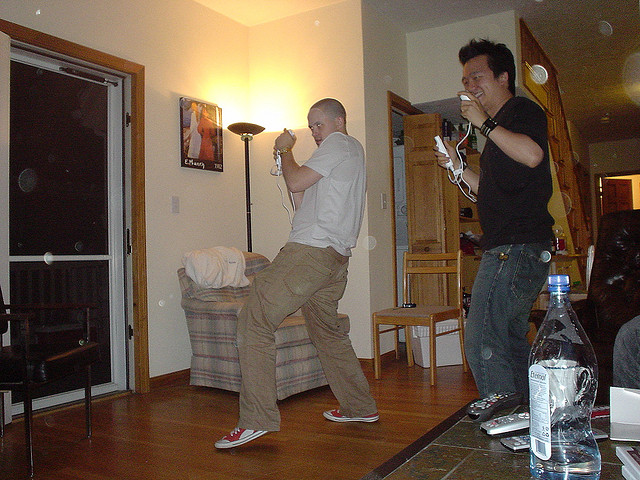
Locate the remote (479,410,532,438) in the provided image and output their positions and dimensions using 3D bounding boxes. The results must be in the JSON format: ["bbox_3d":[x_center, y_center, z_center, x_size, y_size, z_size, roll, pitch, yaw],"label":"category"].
[{"bbox_3d":[0.450,0.431,1.186,0.155,0.035,0.068,-1,-3,-31],"label":"remote"}]

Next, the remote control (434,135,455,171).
[{"bbox_3d":[0.587,-0.406,2.316,0.078,0.165,0.114,-2,-1,14],"label":"remote control"}]

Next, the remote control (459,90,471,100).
[{"bbox_3d":[0.577,-0.573,1.979,0.023,0.034,0.069,-1,-1,-13],"label":"remote control"}]

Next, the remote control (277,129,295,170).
[{"bbox_3d":[-0.172,-0.518,2.765,0.071,0.197,0.147,-4,14,-36],"label":"remote control"}]

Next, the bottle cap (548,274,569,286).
[{"bbox_3d":[0.536,0.089,1.109,0.044,0.024,0.029,-1,-2,3],"label":"bottle cap"}]

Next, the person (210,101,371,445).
[{"bbox_3d":[-0.102,0.163,2.998,0.775,1.853,1.190,-2,-1,5],"label":"person"}]

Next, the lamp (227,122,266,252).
[{"bbox_3d":[-0.691,-0.475,4.621,0.315,1.158,0.531,-1,-1,-16],"label":"lamp"}]

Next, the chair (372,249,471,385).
[{"bbox_3d":[0.824,0.594,4.072,0.779,1.009,0.740,-1,-2,-26],"label":"chair"}]

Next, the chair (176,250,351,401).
[{"bbox_3d":[-0.458,0.621,3.790,0.879,0.942,1.003,1,0,-42],"label":"chair"}]

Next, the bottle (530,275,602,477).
[{"bbox_3d":[0.511,0.292,1.043,0.133,0.291,0.221,-2,-1,27],"label":"bottle"}]

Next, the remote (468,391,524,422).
[{"bbox_3d":[0.461,0.431,1.304,0.058,0.047,0.203,-4,-3,44],"label":"remote"}]
